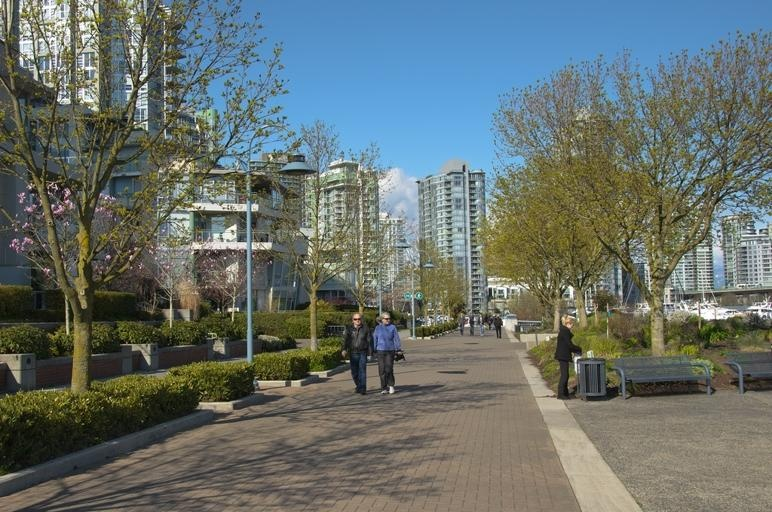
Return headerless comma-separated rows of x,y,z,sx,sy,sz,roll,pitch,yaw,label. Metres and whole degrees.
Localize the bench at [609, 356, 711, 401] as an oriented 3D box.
7.389,3.187,20.147,2.598,0.908,1.131,-1,4,-5,bench
